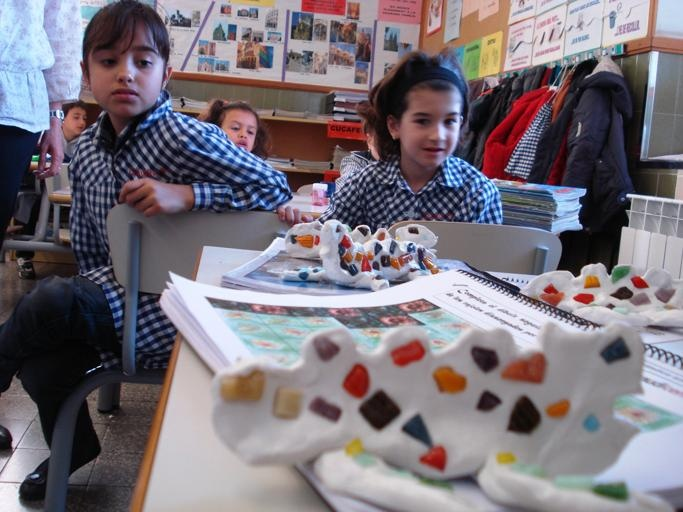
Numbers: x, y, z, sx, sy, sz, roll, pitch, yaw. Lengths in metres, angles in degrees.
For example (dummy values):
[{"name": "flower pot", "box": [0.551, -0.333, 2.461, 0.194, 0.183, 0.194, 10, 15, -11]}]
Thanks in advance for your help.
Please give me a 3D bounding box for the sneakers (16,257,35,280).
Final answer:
[{"name": "sneakers", "box": [-2.046, 0.076, 3.161, 0.085, 0.101, 0.251, -9, 16, -41]}]
